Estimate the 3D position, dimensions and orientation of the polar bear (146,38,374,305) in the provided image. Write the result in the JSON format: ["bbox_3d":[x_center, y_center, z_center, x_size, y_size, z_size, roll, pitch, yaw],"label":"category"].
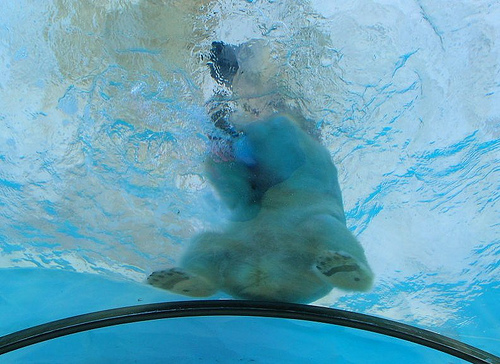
[{"bbox_3d":[0.184,0.049,5.759,1.874,1.738,1.822,-5,-42,10],"label":"polar bear"}]
